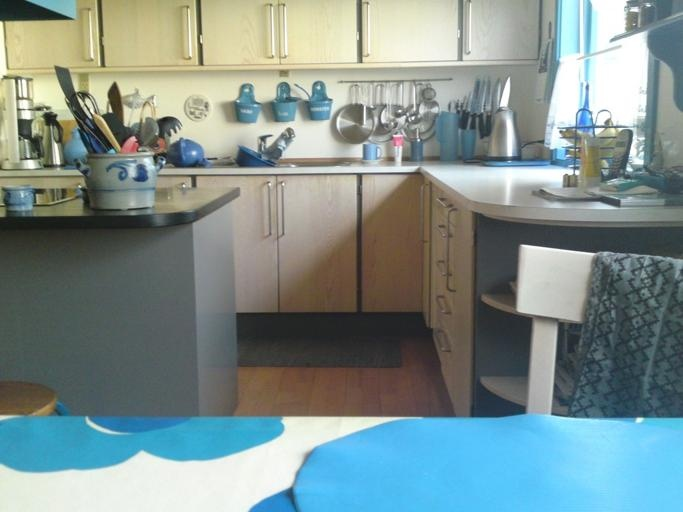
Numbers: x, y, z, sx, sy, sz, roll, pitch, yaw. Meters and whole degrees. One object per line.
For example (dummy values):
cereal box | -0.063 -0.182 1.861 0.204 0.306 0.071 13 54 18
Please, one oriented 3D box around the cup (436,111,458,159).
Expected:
cup | 0.708 -0.789 3.659 0.162 0.310 0.162 -1 12 0

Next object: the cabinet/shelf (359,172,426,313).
cabinet/shelf | 0.290 -0.073 3.235 0.348 0.799 0.087 -1 12 -2

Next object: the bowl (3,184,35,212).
bowl | -0.984 -0.177 1.701 0.091 0.067 0.070 -3 11 -23

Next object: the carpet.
carpet | -0.157 0.471 3.139 0.983 0.134 0.503 0 12 2

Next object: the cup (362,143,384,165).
cup | 0.174 -0.667 3.577 0.174 0.157 0.108 -1 9 -3

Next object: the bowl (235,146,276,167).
bowl | -0.532 -0.581 3.317 0.178 0.068 0.143 4 10 -5

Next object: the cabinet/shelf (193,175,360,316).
cabinet/shelf | -0.338 -0.058 3.595 1.159 1.078 0.708 0 3 -1

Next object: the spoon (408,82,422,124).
spoon | 0.486 -1.038 3.710 0.125 0.196 0.041 9 15 41

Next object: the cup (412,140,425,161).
cup | 0.502 -0.699 3.665 0.080 0.135 0.214 1 12 8

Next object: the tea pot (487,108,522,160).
tea pot | 0.913 -0.678 3.093 0.176 0.288 0.170 -1 12 0
